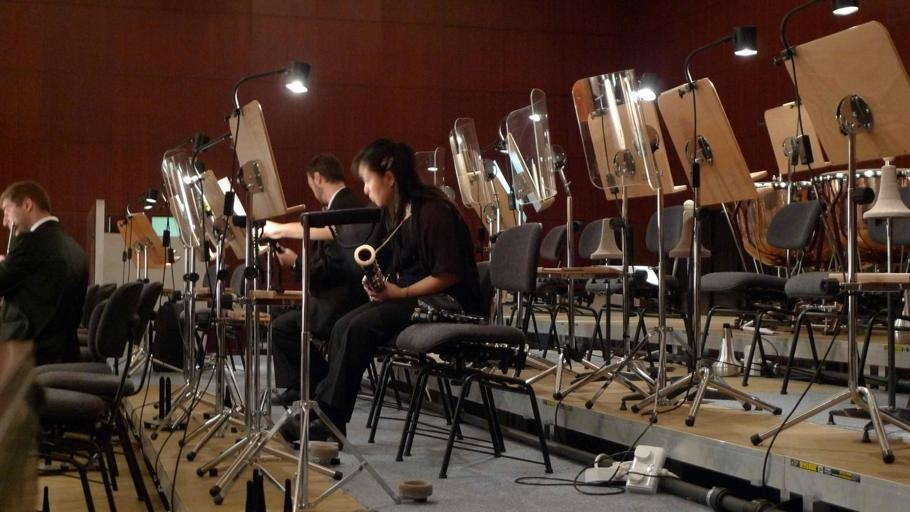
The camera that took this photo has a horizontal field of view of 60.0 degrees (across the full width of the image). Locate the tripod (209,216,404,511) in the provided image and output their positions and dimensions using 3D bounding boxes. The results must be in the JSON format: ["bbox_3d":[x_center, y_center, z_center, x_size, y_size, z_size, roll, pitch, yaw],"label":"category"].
[{"bbox_3d":[-1.021,0.698,6.453,1.696,2.954,1.689,-1,0,-14],"label":"tripod"}]

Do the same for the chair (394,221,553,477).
[{"bbox_3d":[0.112,0.692,6.096,1.259,1.868,1.104,-1,-4,-31],"label":"chair"}]

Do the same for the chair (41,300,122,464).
[{"bbox_3d":[-2.575,0.894,5.566,0.623,1.196,0.895,-1,-3,-28],"label":"chair"}]

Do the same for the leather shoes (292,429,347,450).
[{"bbox_3d":[-1.082,1.365,6.019,0.379,0.141,0.273,1,-2,-3],"label":"leather shoes"}]

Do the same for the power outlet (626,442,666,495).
[{"bbox_3d":[1.332,1.484,5.493,0.282,0.303,0.146,-3,-3,14],"label":"power outlet"}]

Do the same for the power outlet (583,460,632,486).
[{"bbox_3d":[1.071,1.535,5.583,0.237,0.086,0.175,-2,-7,19],"label":"power outlet"}]

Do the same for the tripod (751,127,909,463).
[{"bbox_3d":[2.599,0.229,5.314,1.131,2.184,0.676,-2,-3,-11],"label":"tripod"}]

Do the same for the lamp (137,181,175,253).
[{"bbox_3d":[-3.845,-0.465,10.147,0.447,0.374,1.108,-3,39,-36],"label":"lamp"}]

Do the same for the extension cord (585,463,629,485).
[{"bbox_3d":[1.081,1.532,5.591,0.327,0.141,0.105,-3,-3,9],"label":"extension cord"}]

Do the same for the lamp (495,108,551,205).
[{"bbox_3d":[0.675,-0.898,7.245,0.192,0.940,0.714,-1,-3,-19],"label":"lamp"}]
